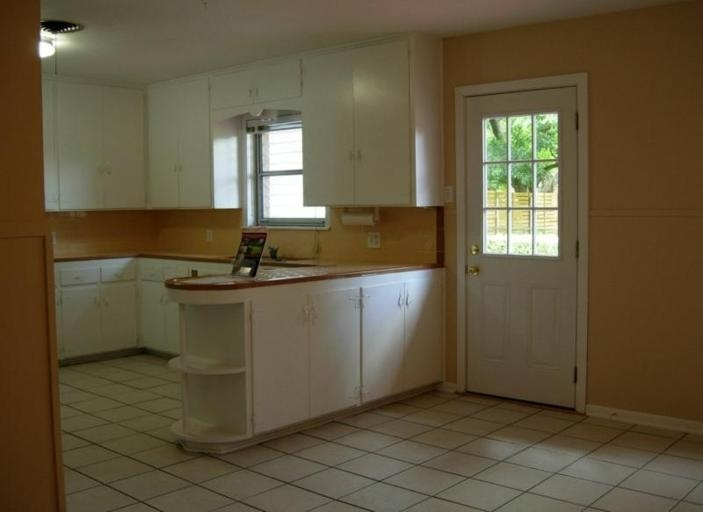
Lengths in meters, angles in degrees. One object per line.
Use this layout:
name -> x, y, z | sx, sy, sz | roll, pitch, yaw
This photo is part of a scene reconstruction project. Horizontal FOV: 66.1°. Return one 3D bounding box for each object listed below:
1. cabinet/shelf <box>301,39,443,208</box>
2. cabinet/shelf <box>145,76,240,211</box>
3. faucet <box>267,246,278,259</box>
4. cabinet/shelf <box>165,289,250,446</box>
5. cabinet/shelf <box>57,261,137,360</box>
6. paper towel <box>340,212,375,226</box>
cabinet/shelf -> -0.096, -1.199, 5.058 | 1.357, 1.473, 0.503 | -13, 20, -32
cabinet/shelf -> -2.080, -1.273, 6.345 | 0.795, 1.137, 0.421 | -13, 40, -31
faucet -> -0.832, -0.038, 5.672 | 0.108, 0.157, 0.114 | -1, 9, 11
cabinet/shelf -> -1.030, 0.787, 3.786 | 0.602, 0.977, 0.308 | 2, 5, 30
cabinet/shelf -> -2.794, 0.588, 5.852 | 0.433, 1.066, 1.051 | -1, 0, 42
paper towel -> 0.055, -0.353, 5.190 | 0.369, 0.130, 0.193 | 2, 6, 25
